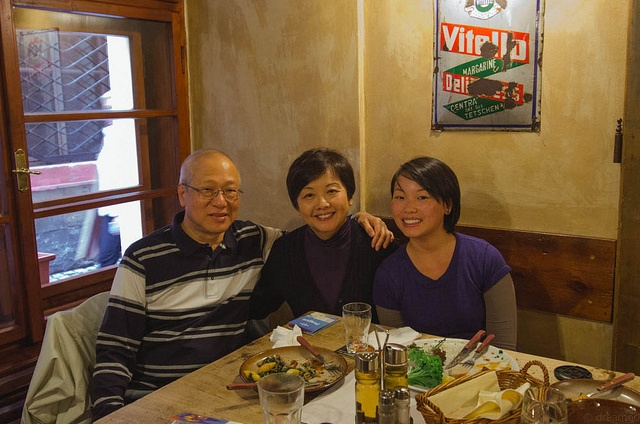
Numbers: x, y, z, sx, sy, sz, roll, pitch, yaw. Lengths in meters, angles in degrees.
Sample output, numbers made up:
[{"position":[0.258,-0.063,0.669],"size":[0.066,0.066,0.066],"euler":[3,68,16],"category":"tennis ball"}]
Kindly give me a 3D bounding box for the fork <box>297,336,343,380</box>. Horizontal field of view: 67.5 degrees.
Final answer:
[{"position":[-0.021,0.596,2.069],"size":[0.061,0.039,0.438],"euler":[-18,17,-20],"category":"fork"}]

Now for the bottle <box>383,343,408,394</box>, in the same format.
[{"position":[0.263,0.542,1.669],"size":[0.085,0.177,0.157],"euler":[1,10,9],"category":"bottle"}]

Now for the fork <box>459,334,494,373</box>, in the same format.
[{"position":[0.669,0.602,2.036],"size":[0.062,0.046,0.452],"euler":[20,24,21],"category":"fork"}]

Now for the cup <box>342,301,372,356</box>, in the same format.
[{"position":[0.165,0.518,2.133],"size":[0.144,0.228,0.155],"euler":[-4,-2,0],"category":"cup"}]

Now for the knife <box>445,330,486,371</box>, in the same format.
[{"position":[0.657,0.573,2.088],"size":[0.078,0.043,0.491],"euler":[15,18,31],"category":"knife"}]

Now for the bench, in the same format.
[{"position":[1.018,0.568,2.729],"size":[1.670,1.000,0.088],"euler":[9,-11,-18],"category":"bench"}]

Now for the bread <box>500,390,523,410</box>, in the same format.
[{"position":[0.641,0.627,1.600],"size":[0.048,0.031,0.079],"euler":[3,10,42],"category":"bread"}]

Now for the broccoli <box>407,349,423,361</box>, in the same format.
[{"position":[0.389,0.584,1.950],"size":[0.049,0.014,0.048],"euler":[-31,47,-14],"category":"broccoli"}]

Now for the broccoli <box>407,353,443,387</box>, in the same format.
[{"position":[0.395,0.650,1.893],"size":[0.140,0.102,0.121],"euler":[4,-20,-22],"category":"broccoli"}]
